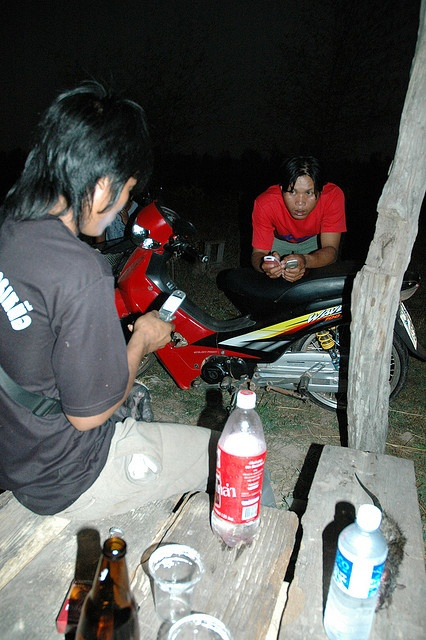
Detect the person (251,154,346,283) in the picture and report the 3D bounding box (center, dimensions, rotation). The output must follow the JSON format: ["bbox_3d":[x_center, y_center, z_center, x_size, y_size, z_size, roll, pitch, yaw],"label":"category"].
[{"bbox_3d":[0.688,-0.604,3.828,0.756,1.690,0.518,-9,48,0],"label":"person"}]

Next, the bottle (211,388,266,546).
[{"bbox_3d":[0.065,0.410,1.230,0.153,0.509,0.260,3,25,6],"label":"bottle"}]

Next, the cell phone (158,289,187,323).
[{"bbox_3d":[-0.232,-0.084,2.533,0.080,0.039,0.282,27,35,0],"label":"cell phone"}]

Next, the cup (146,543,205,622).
[{"bbox_3d":[-0.079,0.646,1.104,0.152,0.160,0.143,3,30,-2],"label":"cup"}]
